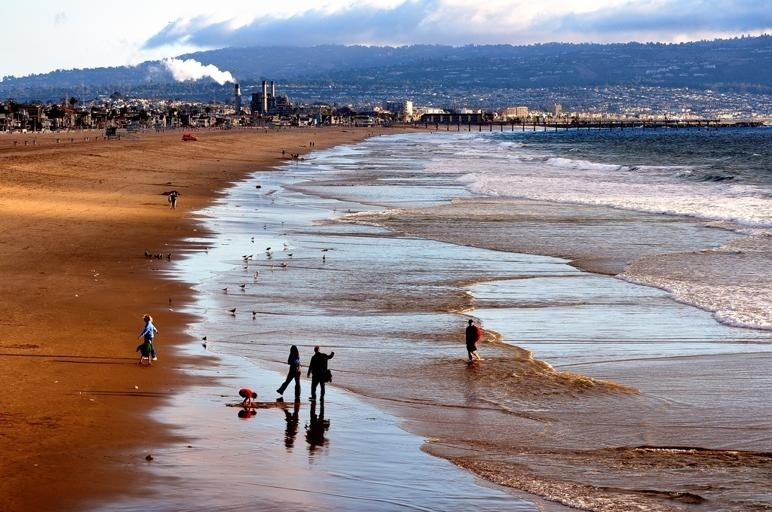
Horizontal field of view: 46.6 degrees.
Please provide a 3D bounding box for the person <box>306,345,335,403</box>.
[{"bbox_3d":[-1.327,2.304,17.719,0.442,1.078,0.821,4,15,-3],"label":"person"}]
